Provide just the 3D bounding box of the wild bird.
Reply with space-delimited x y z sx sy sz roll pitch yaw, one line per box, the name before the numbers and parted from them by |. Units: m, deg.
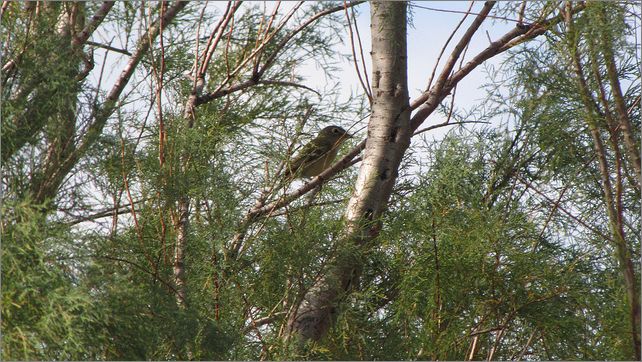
wild bird | -0.088 -0.180 6.423 0.738 0.396 0.252 -12 -8 8
